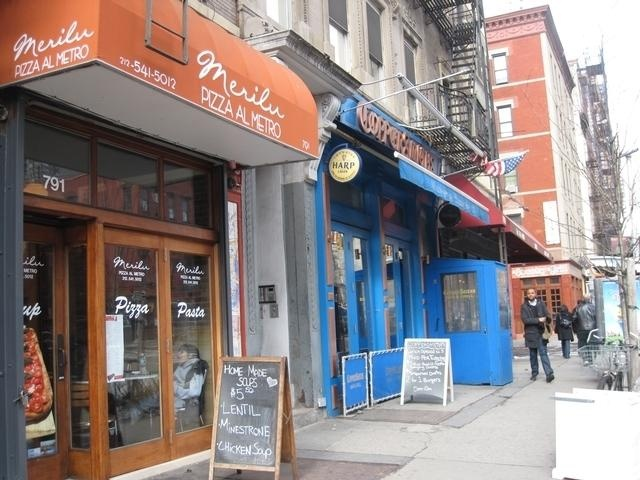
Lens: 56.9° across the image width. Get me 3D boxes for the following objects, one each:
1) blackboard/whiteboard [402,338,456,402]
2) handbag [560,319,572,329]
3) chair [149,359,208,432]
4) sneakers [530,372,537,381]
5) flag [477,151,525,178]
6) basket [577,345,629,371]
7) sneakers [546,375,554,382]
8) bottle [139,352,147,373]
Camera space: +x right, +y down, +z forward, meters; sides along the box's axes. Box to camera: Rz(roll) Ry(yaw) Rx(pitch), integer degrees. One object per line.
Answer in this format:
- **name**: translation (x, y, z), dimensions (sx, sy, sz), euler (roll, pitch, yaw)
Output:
- **blackboard/whiteboard**: translation (2.069, 2.523, 11.461), dimensions (0.949, 1.201, 0.558), euler (-1, -5, 9)
- **handbag**: translation (8.236, 2.758, 19.680), dimensions (0.347, 0.308, 0.375), euler (-4, 0, 27)
- **chair**: translation (-2.010, 2.216, 8.642), dimensions (0.675, 1.110, 0.685), euler (5, -9, -37)
- **sneakers**: translation (5.198, 3.295, 14.318), dimensions (0.102, 0.256, 0.230), euler (-7, -11, 34)
- **flag**: translation (4.928, -2.068, 15.947), dimensions (0.952, 0.646, 1.295), euler (-5, -6, 38)
- **basket**: translation (5.276, 2.156, 11.026), dimensions (0.631, 0.407, 1.020), euler (-2, -4, 19)
- **sneakers**: translation (5.319, 3.158, 13.635), dimensions (0.119, 0.172, 0.208), euler (-10, -6, 31)
- **bottle**: translation (-2.300, 1.582, 7.686), dimensions (0.026, 0.250, 0.122), euler (-2, -5, 25)
